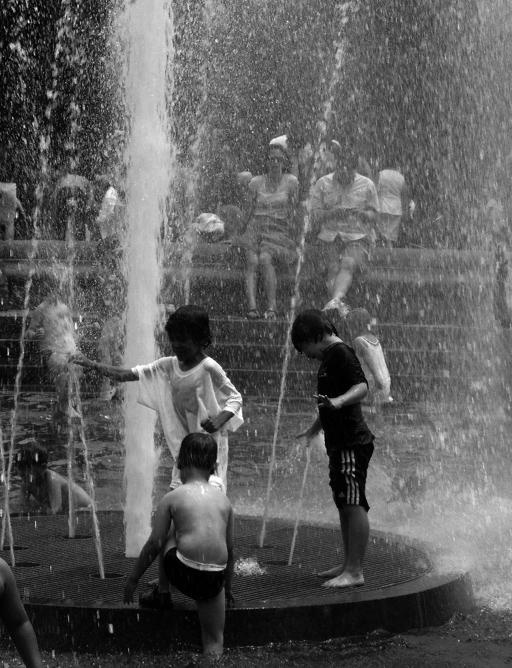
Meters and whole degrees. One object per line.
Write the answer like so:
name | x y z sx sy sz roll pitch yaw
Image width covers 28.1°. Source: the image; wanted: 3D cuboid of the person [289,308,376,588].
person | 0.305 0.440 4.153 0.337 1.061 0.671 2 3 7

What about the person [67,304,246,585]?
person | -0.307 0.256 4.089 0.543 1.264 0.521 -11 16 -42
